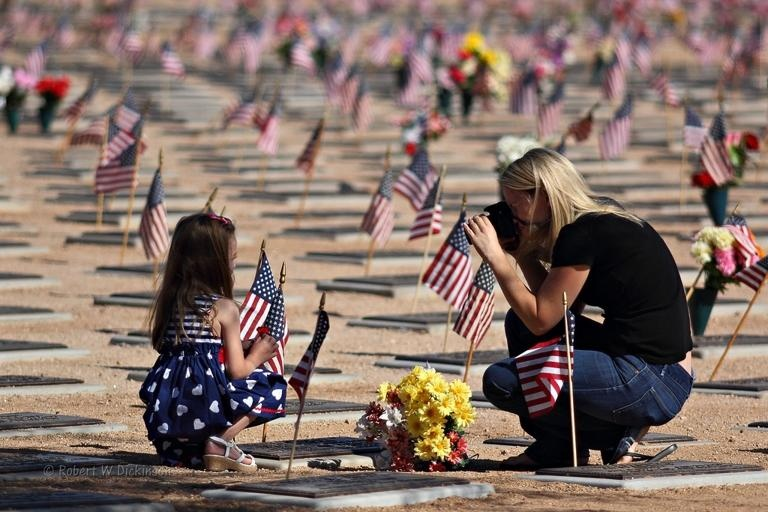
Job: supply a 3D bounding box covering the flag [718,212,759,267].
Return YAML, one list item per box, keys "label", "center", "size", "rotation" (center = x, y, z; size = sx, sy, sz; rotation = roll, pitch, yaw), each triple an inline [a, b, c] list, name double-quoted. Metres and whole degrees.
- label: "flag"
  center: [6.494, -0.302, 35.531]
  size: [0.620, 0.977, 0.422]
  rotation: [-45, -6, 25]

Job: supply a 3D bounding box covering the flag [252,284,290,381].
- label: "flag"
  center: [-1.714, 1.162, 31.882]
  size: [0.568, 1.356, 0.569]
  rotation: [6, -1, 3]

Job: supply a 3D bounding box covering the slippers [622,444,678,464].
- label: "slippers"
  center: [4.259, 3.175, 31.619]
  size: [0.748, 0.246, 0.351]
  rotation: [-17, 14, 19]

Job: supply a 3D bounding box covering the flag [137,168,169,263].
- label: "flag"
  center: [-4.166, -0.758, 35.930]
  size: [0.647, 1.632, 0.548]
  rotation: [2, 1, 0]

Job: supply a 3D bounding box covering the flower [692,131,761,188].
- label: "flower"
  center: [6.763, -1.973, 39.310]
  size: [1.125, 1.249, 0.692]
  rotation: [-21, 9, -31]

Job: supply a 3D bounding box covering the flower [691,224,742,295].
- label: "flower"
  center: [6.011, 0.045, 35.953]
  size: [1.182, 1.256, 1.044]
  rotation: [0, -6, -1]

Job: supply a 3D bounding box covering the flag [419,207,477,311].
- label: "flag"
  center: [1.135, 0.047, 34.854]
  size: [1.015, 1.693, 0.746]
  rotation: [5, 1, 2]

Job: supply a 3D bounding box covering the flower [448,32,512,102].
- label: "flower"
  center: [2.427, -4.636, 47.909]
  size: [1.007, 1.541, 3.012]
  rotation: [7, 0, 10]

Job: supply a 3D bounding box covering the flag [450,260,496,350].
- label: "flag"
  center: [1.525, 0.867, 33.455]
  size: [0.700, 1.403, 0.714]
  rotation: [1, -1, -4]

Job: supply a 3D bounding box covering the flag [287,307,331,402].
- label: "flag"
  center: [-1.146, 1.591, 31.235]
  size: [0.661, 1.406, 0.571]
  rotation: [0, -2, -1]
